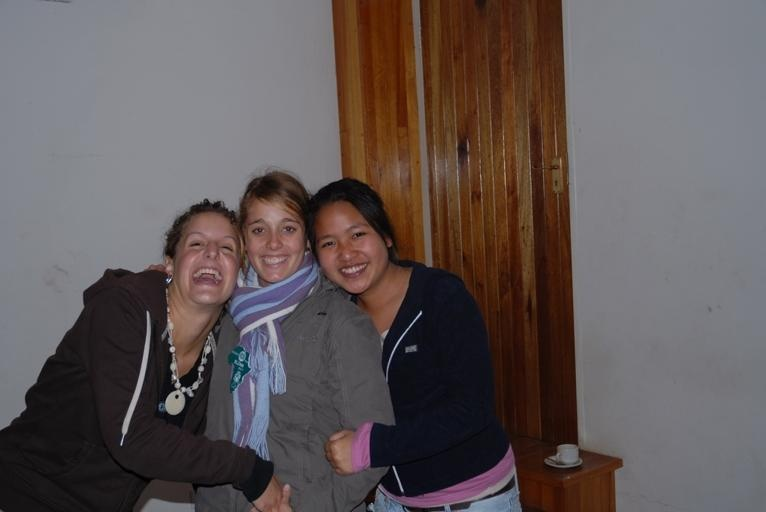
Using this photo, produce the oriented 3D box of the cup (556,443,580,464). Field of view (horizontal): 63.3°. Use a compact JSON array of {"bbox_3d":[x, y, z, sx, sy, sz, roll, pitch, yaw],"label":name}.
[{"bbox_3d":[1.030,1.088,3.448,0.111,0.083,0.086,-5,8,-30],"label":"cup"}]
